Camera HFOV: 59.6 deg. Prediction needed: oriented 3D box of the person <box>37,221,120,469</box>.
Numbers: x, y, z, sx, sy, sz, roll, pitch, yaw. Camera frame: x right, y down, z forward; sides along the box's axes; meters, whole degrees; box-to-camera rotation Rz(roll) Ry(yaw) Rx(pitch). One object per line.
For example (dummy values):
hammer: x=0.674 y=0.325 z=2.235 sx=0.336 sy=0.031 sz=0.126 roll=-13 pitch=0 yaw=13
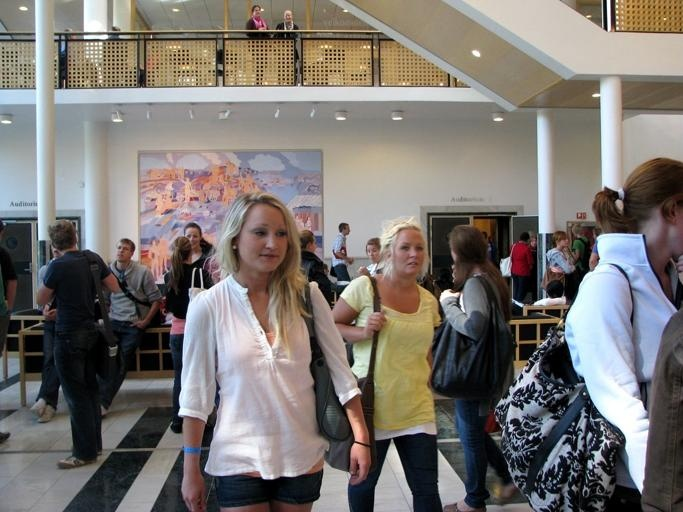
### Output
person: x=-2.152 y=0.692 z=4.844 sx=0.483 sy=1.952 sz=0.475 roll=-3 pitch=5 yaw=-28

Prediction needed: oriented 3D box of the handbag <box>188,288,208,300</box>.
handbag: x=-0.635 y=0.169 z=2.612 sx=0.070 sy=0.081 sz=0.053 roll=-2 pitch=-3 yaw=20

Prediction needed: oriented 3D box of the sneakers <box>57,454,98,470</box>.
sneakers: x=-2.110 y=1.645 z=4.760 sx=0.259 sy=0.086 sz=0.114 roll=6 pitch=-6 yaw=-22

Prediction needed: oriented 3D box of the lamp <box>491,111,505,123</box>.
lamp: x=3.174 y=-2.850 z=12.159 sx=0.282 sy=0.224 sz=0.294 roll=-1 pitch=2 yaw=15

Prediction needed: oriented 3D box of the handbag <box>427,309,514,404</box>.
handbag: x=0.772 y=0.604 z=3.576 sx=0.492 sy=0.675 sz=0.293 roll=9 pitch=6 yaw=30

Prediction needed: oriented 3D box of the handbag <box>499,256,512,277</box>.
handbag: x=3.082 y=0.208 z=11.219 sx=0.111 sy=0.409 sz=0.362 roll=-2 pitch=7 yaw=-12

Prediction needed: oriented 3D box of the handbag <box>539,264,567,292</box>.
handbag: x=3.369 y=0.341 z=9.529 sx=0.449 sy=0.466 sz=0.230 roll=-1 pitch=-8 yaw=7
